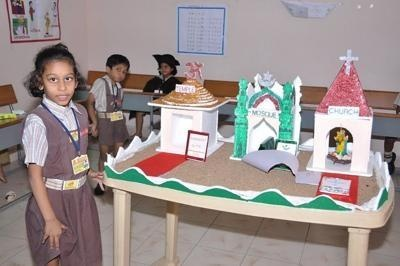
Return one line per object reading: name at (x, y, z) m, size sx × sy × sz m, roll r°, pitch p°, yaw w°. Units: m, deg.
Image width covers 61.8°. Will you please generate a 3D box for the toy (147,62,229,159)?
toy at (0.009, -0.223, 2.475) m, size 0.630 × 0.772 × 0.623 m, roll 7°, pitch 15°, yaw 25°
